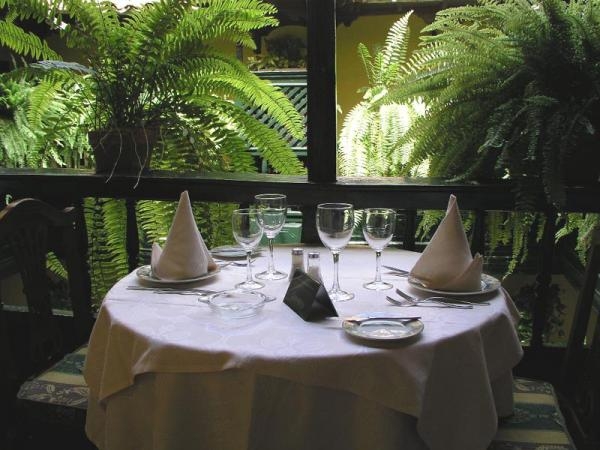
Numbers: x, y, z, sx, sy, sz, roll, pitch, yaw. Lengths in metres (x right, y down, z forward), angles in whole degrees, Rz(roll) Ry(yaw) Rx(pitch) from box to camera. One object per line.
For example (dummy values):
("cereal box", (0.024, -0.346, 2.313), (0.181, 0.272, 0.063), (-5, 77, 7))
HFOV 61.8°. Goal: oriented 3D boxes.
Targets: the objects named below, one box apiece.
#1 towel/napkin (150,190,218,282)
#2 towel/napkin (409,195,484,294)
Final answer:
("towel/napkin", (-0.364, 0.033, 1.568), (0.241, 0.298, 0.228), (1, 5, -13))
("towel/napkin", (0.410, 0.080, 1.598), (0.242, 0.318, 0.278), (7, -3, -8))
